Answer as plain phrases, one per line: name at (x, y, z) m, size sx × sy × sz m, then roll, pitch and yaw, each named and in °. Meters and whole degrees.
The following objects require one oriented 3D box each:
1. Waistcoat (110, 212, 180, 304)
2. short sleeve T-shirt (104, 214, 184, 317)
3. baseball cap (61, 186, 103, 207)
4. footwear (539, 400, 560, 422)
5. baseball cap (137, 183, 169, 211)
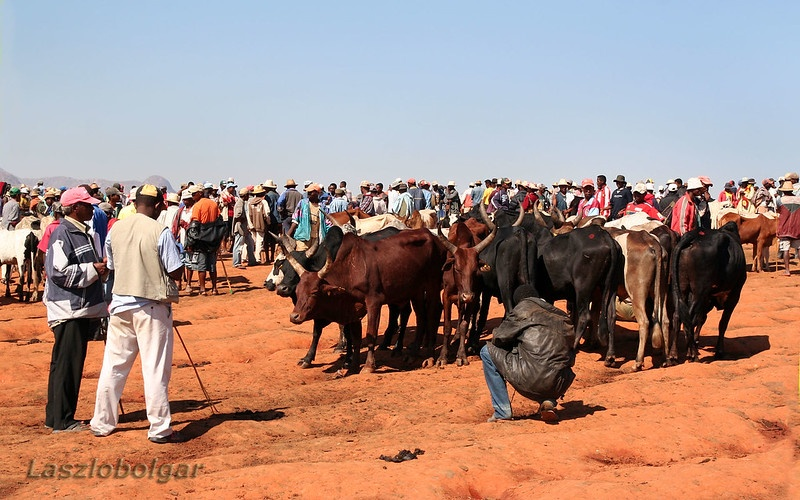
Waistcoat at (-3.770, 0.124, 8.885) m, size 0.980 × 1.285 × 0.491 m, roll 0°, pitch 4°, yaw -9°
short sleeve T-shirt at (-3.832, 0.203, 9.111) m, size 1.146 × 1.216 × 0.866 m, roll 1°, pitch 3°, yaw -6°
baseball cap at (-4.967, -0.823, 9.518) m, size 0.503 × 0.249 × 0.311 m, roll -6°, pitch 6°, yaw -15°
footwear at (2.329, 2.532, 9.582) m, size 0.246 × 0.204 × 0.495 m, roll -1°, pitch -28°, yaw 4°
baseball cap at (-3.757, -0.793, 9.203) m, size 0.332 × 0.233 × 0.433 m, roll 6°, pitch 6°, yaw 0°
